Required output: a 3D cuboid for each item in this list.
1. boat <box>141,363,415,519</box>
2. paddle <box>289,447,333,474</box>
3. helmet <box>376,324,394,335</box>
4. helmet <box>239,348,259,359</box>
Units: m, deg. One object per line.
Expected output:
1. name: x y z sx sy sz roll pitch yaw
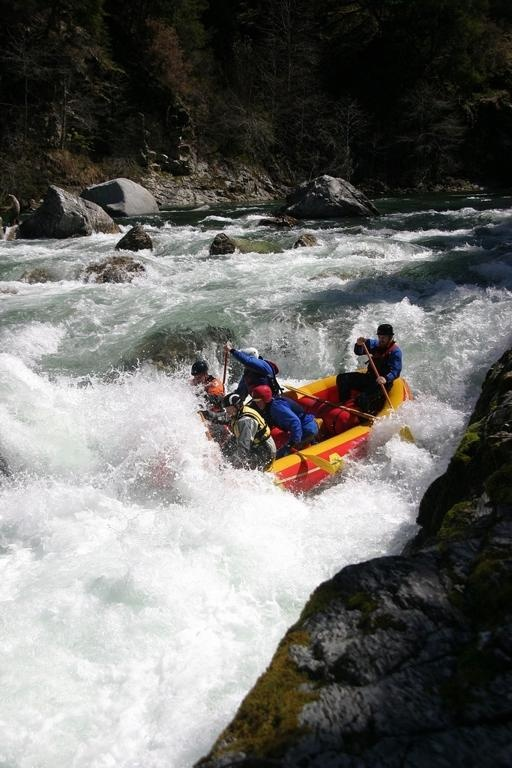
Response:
1. boat: 0.812 0.646 6.999 1.536 0.289 1.486 -18 38 -26
2. paddle: 0.519 0.708 6.457 0.147 0.063 0.458 -45 42 -20
3. helmet: 1.477 -0.612 7.727 0.156 0.098 0.187 -6 3 13
4. helmet: -0.068 -0.303 6.685 0.163 0.109 0.131 -3 21 0
